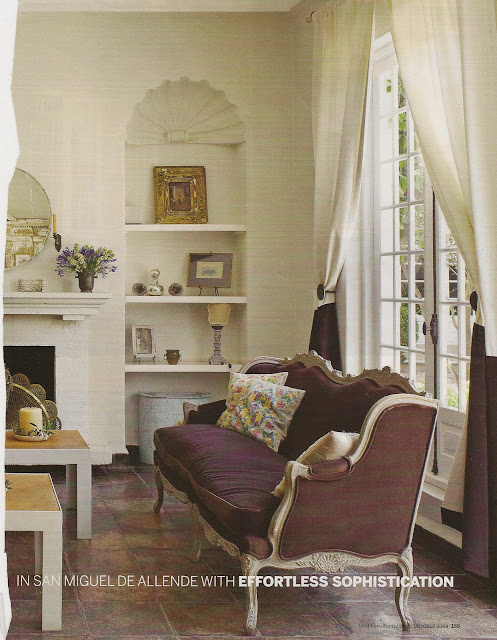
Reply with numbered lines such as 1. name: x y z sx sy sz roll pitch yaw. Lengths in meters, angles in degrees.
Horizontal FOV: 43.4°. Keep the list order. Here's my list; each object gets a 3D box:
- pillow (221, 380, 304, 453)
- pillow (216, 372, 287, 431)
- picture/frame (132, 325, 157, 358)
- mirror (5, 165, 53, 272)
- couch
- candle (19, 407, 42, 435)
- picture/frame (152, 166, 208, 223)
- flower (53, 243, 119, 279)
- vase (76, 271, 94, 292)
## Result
1. pillow: 0.048 0.349 2.390 0.115 0.224 0.383 26 -6 -33
2. pillow: 0.033 0.310 2.573 0.242 0.240 0.075 -7 -40 44
3. picture/frame: -0.614 0.134 3.643 0.134 0.190 0.050 0 -1 -5
4. mirror: -1.216 -0.530 3.359 0.299 0.518 0.194 0 -1 11
5. couch: 0.104 0.495 2.091 0.712 0.730 1.017 1 -1 -10
6. candle: -0.818 0.378 2.344 0.090 0.094 0.103 1 -1 -17
7. picture/frame: -0.379 -0.714 3.543 0.368 0.366 0.030 0 3 2
8. flower: -0.896 -0.316 3.401 0.246 0.149 0.227 -1 2 -2
9. vase: -0.886 -0.205 3.383 0.133 0.105 0.097 0 -3 2
